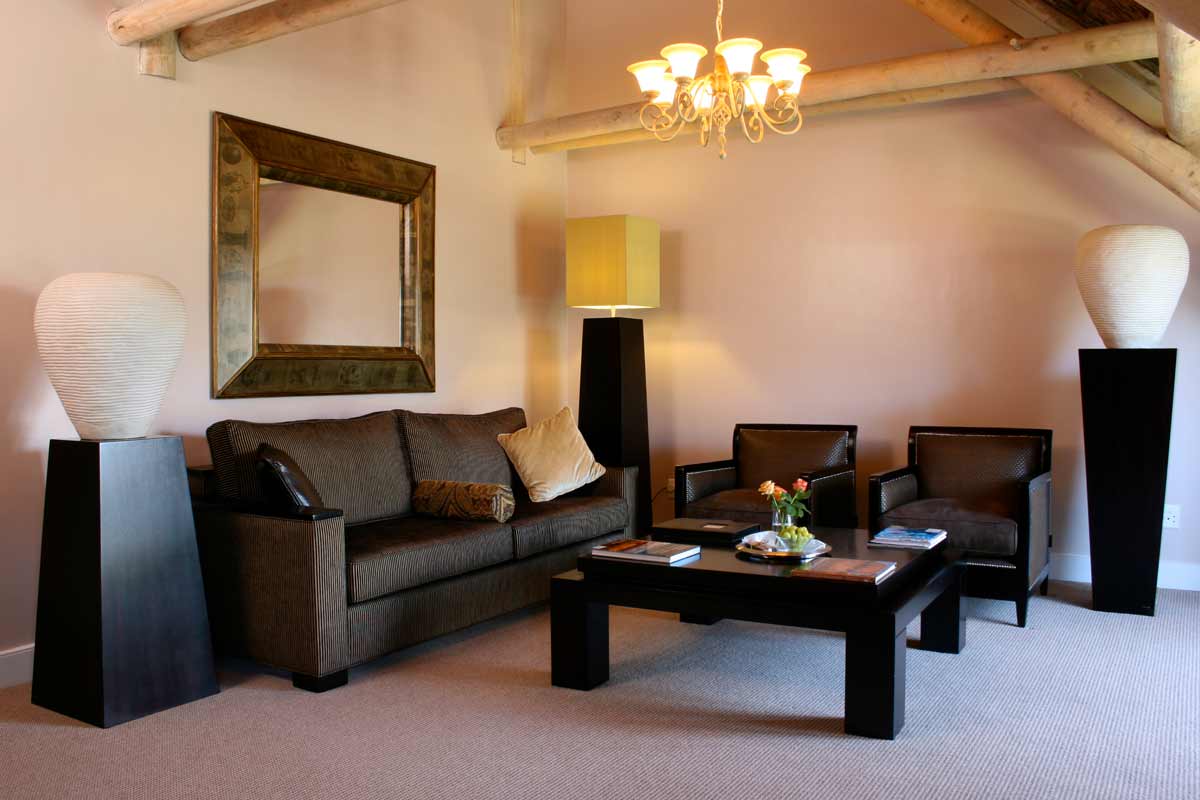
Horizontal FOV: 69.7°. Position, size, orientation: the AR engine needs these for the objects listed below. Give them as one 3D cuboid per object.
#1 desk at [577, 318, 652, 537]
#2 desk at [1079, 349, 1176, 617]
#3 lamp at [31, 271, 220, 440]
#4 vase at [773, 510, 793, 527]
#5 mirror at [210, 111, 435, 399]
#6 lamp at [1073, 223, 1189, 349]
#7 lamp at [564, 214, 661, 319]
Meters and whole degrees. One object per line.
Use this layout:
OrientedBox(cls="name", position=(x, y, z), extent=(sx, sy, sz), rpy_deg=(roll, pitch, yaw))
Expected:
OrientedBox(cls="desk", position=(0.010, -0.050, 6.617), extent=(0.473, 1.165, 0.477), rpy_deg=(7, 18, 29))
OrientedBox(cls="desk", position=(3.076, 0.478, 5.148), extent=(0.490, 1.561, 0.297), rpy_deg=(4, 10, 28))
OrientedBox(cls="lamp", position=(-2.111, -0.214, 4.246), extent=(0.760, 0.817, 0.753), rpy_deg=(0, 4, -5))
OrientedBox(cls="vase", position=(0.940, 0.602, 4.383), extent=(0.086, 0.093, 0.083), rpy_deg=(1, 2, -11))
OrientedBox(cls="mirror", position=(-1.781, -0.865, 5.457), extent=(1.522, 1.721, 0.236), rpy_deg=(-9, 12, -43))
OrientedBox(cls="lamp", position=(3.143, -0.681, 5.393), extent=(0.743, 0.787, 0.711), rpy_deg=(-5, 5, -38))
OrientedBox(cls="lamp", position=(0.152, -1.027, 6.880), extent=(0.720, 0.947, 0.720), rpy_deg=(2, 3, 24))
